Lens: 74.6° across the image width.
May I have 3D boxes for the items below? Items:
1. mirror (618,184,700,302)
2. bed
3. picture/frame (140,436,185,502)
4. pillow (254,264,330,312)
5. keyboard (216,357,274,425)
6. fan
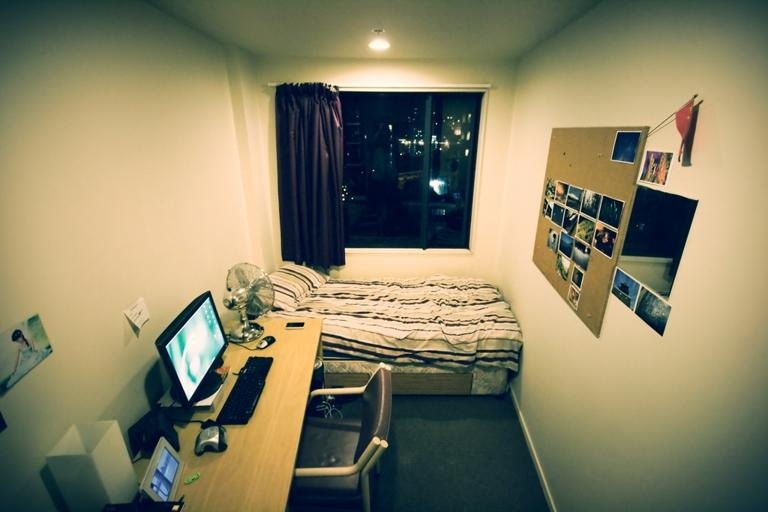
[{"bbox_3d":[1.414,-0.068,2.569,0.049,0.697,0.390,-1,23,-19],"label":"mirror"},{"bbox_3d":[0.110,0.530,4.129,1.677,0.671,1.068,-1,33,0],"label":"bed"},{"bbox_3d":[-1.154,1.121,2.627,0.076,0.206,0.241,-30,37,12],"label":"picture/frame"},{"bbox_3d":[-0.767,0.252,4.275,0.296,0.099,0.460,28,30,8],"label":"pillow"},{"bbox_3d":[-0.826,0.821,3.039,0.220,0.110,0.527,2,39,1],"label":"keyboard"},{"bbox_3d":[-0.963,0.349,3.563,0.361,0.444,0.293,15,28,15],"label":"fan"}]
